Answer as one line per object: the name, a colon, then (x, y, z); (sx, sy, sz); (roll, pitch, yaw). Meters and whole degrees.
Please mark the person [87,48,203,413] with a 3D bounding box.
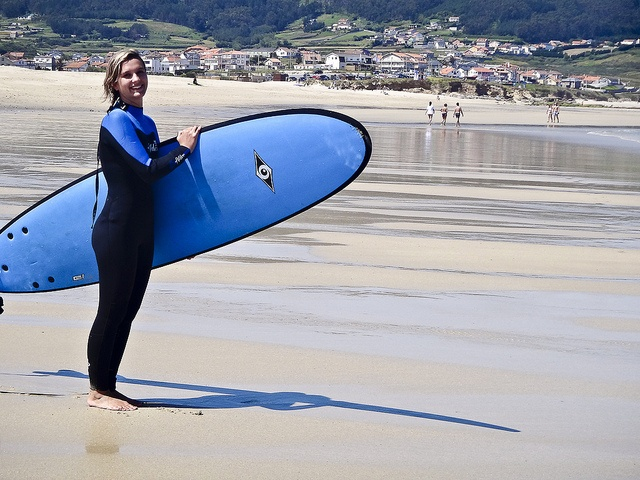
person: (-1.155, -0.050, 7.083); (0.554, 2.287, 0.461); (4, 13, 1)
